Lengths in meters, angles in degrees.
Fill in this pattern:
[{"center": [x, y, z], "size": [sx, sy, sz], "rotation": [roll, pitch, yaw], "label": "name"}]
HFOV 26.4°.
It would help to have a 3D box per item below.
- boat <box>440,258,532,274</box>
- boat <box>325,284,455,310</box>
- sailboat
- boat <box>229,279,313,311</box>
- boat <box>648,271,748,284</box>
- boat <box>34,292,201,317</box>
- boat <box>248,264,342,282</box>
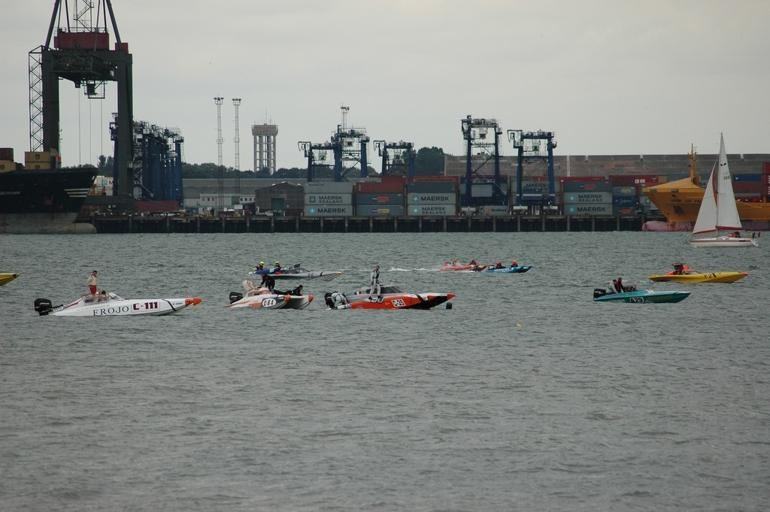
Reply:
[{"center": [8.937, 0.866, 150.463], "size": [8.223, 1.203, 2.815], "rotation": [1, 3, 28], "label": "boat"}, {"center": [-0.008, 3.158, 127.463], "size": [9.049, 1.861, 1.168], "rotation": [-1, 3, 0], "label": "boat"}, {"center": [41.025, -6.552, 199.402], "size": [12.697, 15.898, 6.642], "rotation": [0, -16, 5], "label": "sailboat"}, {"center": [-9.001, 3.160, 128.576], "size": [6.043, 1.748, 1.861], "rotation": [-1, 3, 8], "label": "boat"}, {"center": [26.664, 1.763, 139.276], "size": [7.178, 0.906, 2.477], "rotation": [0, 0, 8], "label": "boat"}, {"center": [-20.676, 3.636, 125.443], "size": [11.504, 1.721, 2.061], "rotation": [-1, 3, -4], "label": "boat"}, {"center": [-8.232, 1.346, 147.405], "size": [5.451, 1.300, 7.852], "rotation": [-3, 3, -34], "label": "boat"}]
